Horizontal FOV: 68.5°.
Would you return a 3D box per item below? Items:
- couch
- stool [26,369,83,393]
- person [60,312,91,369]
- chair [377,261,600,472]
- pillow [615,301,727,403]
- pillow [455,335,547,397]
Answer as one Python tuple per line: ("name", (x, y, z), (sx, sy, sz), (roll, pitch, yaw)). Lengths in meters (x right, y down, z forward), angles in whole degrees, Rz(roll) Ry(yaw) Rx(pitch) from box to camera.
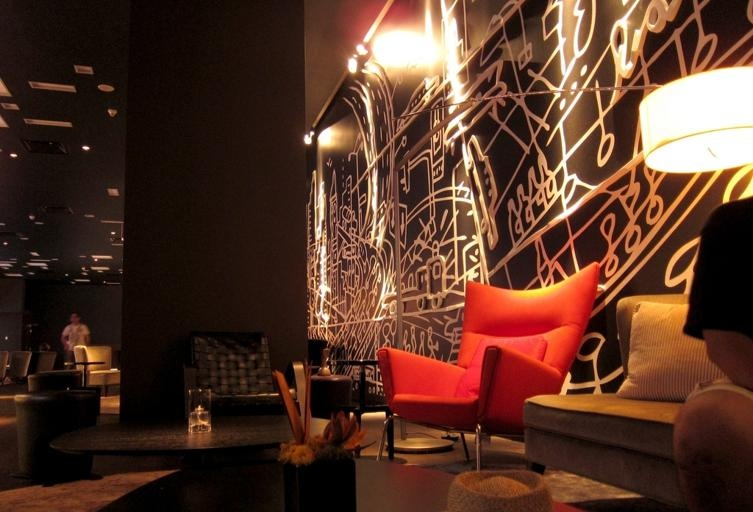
("couch", (1.322, 0.694, 2.932), (0.829, 0.850, 0.929), (8, -13, -30))
("stool", (-2.813, 1.080, 4.842), (0.378, 0.274, 0.392), (0, -3, -21))
("person", (-6.895, 2.072, 12.677), (0.547, 1.656, 0.483), (-2, 19, -31))
("chair", (0.718, 0.713, 3.642), (1.413, 1.367, 1.383), (-2, -15, 25))
("pillow", (1.382, 0.450, 2.578), (0.234, 0.410, 0.481), (4, -12, -38))
("pillow", (0.792, 0.698, 3.619), (0.134, 0.449, 0.438), (31, -24, -21))
